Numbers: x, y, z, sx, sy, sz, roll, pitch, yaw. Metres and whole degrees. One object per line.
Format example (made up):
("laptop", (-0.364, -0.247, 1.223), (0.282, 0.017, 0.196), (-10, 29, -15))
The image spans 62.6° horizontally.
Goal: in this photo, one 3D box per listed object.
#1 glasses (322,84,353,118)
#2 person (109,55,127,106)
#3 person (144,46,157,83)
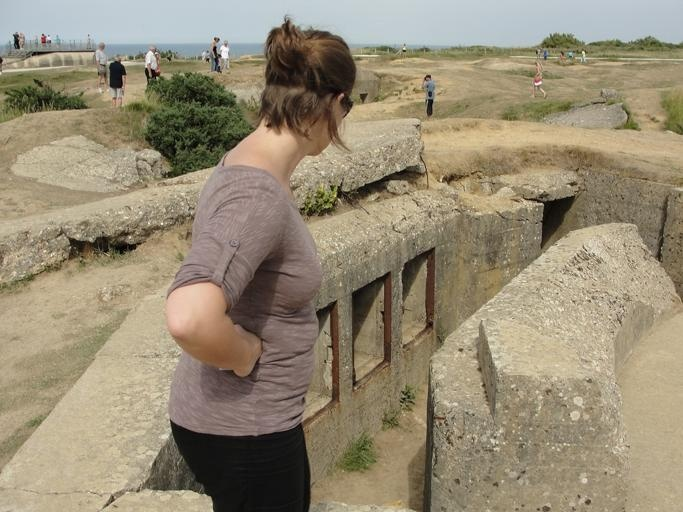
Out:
("glasses", (-0.010, -0.685, 2.413), (0.066, 0.121, 0.092), (-45, 65, -11))
("person", (-6.390, -5.007, 16.221), (0.433, 1.221, 1.131), (-9, 24, -20))
("person", (-6.183, -6.306, 18.466), (0.369, 1.061, 0.877), (-8, 24, -18))
